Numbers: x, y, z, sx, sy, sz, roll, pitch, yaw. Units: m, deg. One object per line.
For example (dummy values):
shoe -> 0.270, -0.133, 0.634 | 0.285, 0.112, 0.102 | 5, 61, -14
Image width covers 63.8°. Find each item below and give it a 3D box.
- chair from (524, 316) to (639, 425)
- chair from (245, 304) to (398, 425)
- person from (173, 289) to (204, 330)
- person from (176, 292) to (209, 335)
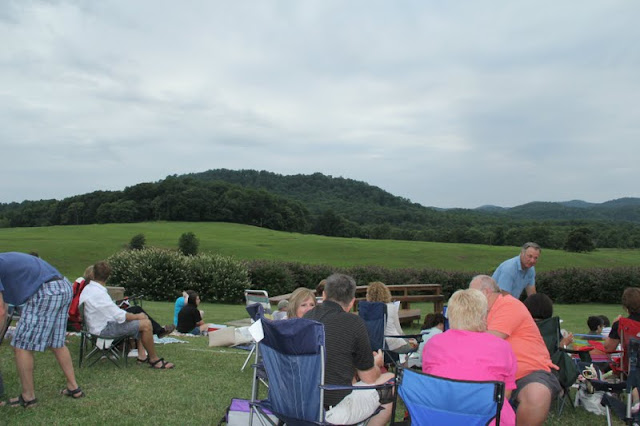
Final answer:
chair -> 7.005, 3.446, 13.252 | 1.765, 1.588, 2.164 | 4, -7, -42
chair -> -0.050, 3.634, 12.123 | 2.896, 3.107, 2.806 | -2, -3, 36
person -> -4.300, 3.380, 17.135 | 1.097, 1.426, 0.904 | 17, 17, 37
person -> -4.186, 3.437, 17.213 | 1.015, 1.403, 1.092 | 2, 2, 29
